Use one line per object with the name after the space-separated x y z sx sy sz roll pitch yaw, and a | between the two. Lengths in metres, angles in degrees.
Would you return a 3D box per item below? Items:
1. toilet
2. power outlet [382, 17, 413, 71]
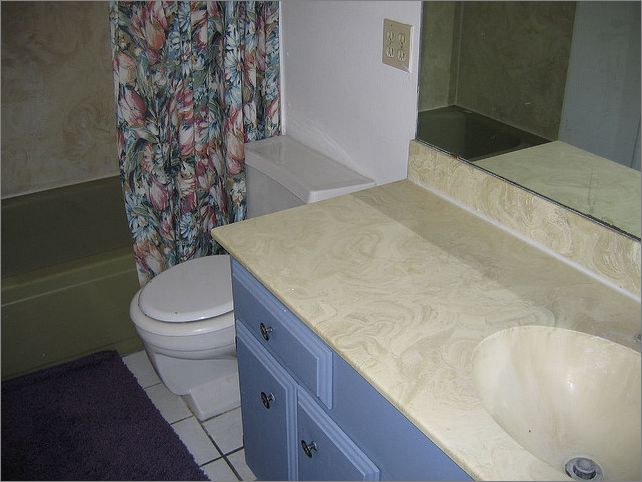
-0.314 0.212 2.134 0.773 0.941 0.562 -10 31 -22 | toilet
0.232 -0.597 1.655 0.123 0.136 0.011 -2 8 -37 | power outlet
